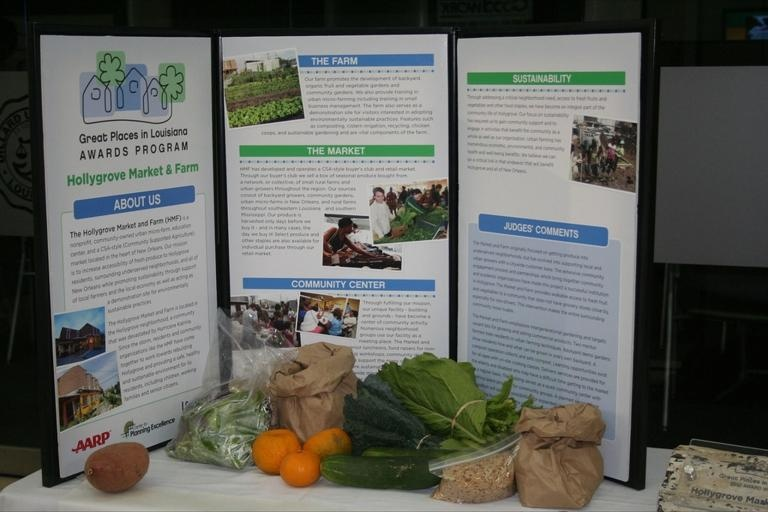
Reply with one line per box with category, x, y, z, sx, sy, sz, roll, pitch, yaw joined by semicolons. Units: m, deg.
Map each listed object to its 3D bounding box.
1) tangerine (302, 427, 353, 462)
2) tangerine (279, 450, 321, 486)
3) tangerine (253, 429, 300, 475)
tangerine;-0.231;0.802;2.838;0.149;0.091;0.115;-2;-3;0
tangerine;-0.351;0.890;2.807;0.153;0.146;0.158;5;-4;2
tangerine;-0.470;0.840;2.900;0.181;0.165;0.182;-5;10;-30
